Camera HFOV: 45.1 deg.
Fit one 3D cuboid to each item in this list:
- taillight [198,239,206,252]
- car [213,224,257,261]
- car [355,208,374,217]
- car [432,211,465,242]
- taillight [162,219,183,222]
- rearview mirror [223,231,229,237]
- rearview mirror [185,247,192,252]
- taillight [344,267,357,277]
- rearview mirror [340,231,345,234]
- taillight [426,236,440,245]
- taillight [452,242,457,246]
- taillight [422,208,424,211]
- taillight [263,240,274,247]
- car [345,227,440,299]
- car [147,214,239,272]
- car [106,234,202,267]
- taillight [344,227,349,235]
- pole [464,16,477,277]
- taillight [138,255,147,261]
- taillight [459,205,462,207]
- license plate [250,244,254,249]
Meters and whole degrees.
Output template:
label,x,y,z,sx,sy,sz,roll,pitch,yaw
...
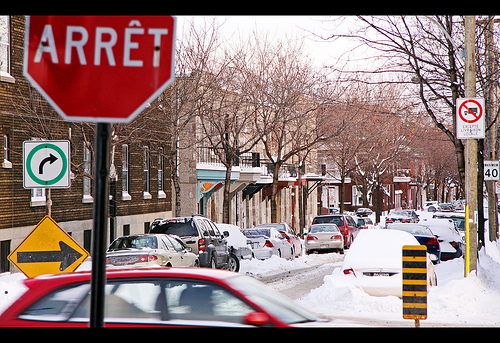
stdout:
label,x,y,z,sx,sy,sz,roll,pitch,yaw
taillight,-1.473,2.210,18.326,0.208,0.321,0.324,3,-9,2
car,-0.395,2.681,22.981,1.049,0.858,1.756,-5,-9,35
car,12.659,4.528,67.107,1.739,0.979,3.217,2,5,19
car,9.522,2.472,28.069,1.298,0.655,2.140,2,9,20
taillight,-2.364,1.489,18.426,0.546,0.073,0.143,0,-5,-25
rearview mirror,-0.813,2.101,20.337,0.277,0.261,0.044,0,0,-43
rearview mirror,-1.839,2.328,18.149,0.230,0.171,0.087,-1,10,4
taillight,2.150,2.132,13.008,0.056,0.161,0.277,0,-5,-32
rearview mirror,4.745,3.113,30.797,0.183,0.174,0.086,1,-6,-1
taillight,5.859,2.206,19.398,0.309,0.244,0.527,1,4,19
taillight,7.174,2.537,21.160,0.093,0.122,0.037,9,1,5
taillight,29.102,6.344,101.609,0.317,0.298,0.308,-3,5,-27
taillight,0.746,2.884,24.259,0.356,0.264,0.081,-2,-4,-7
car,3.088,2.009,13.014,1.459,1.026,3.042,0,4,9
car,-1.673,2.264,19.505,1.625,1.323,3.012,0,0,18
car,-2.343,1.940,15.054,1.226,0.792,2.622,-1,-2,18
taillight,4.967,3.045,31.010,0.226,0.353,0.160,-2,8,-5
pole,5.631,-0.317,15.384,0.388,7.389,0.385,-2,4,-2
taillight,-2.478,1.993,13.953,0.224,0.134,0.048,1,-5,-34
taillight,28.879,4.695,82.853,0.297,0.278,0.293,1,-2,-18
license plate,0.095,3.000,24.276,0.063,0.179,0.141,-5,-5,37
